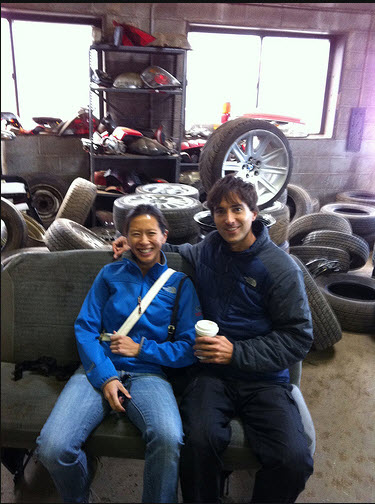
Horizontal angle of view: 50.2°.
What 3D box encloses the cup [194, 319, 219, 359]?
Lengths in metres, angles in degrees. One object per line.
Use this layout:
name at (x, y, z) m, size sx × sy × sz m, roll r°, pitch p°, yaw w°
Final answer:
cup at (0.071, 0.299, 1.533) m, size 0.081 × 0.071 × 0.075 m, roll 3°, pitch 20°, yaw -1°
